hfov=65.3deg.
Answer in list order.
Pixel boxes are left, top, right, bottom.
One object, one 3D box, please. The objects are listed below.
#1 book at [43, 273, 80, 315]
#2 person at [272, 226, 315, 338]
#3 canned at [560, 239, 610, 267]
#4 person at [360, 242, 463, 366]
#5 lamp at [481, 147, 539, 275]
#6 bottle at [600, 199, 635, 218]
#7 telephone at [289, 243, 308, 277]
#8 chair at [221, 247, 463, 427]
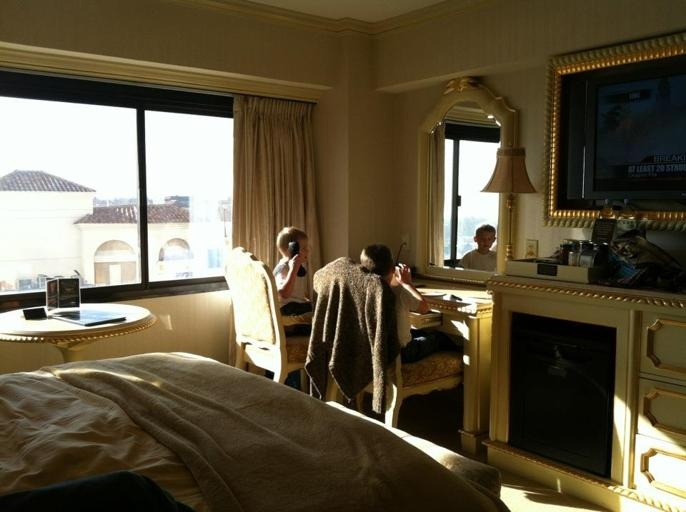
[{"bbox_3d":[-1.727,0.255,3.352,0.214,0.235,0.186,2,2,41],"label":"book"},{"bbox_3d":[-0.308,0.190,3.944,0.436,0.742,0.466,-1,-9,-2],"label":"person"},{"bbox_3d":[1.380,-0.011,3.044,0.177,0.141,0.248,0,4,-38],"label":"canned"},{"bbox_3d":[0.423,0.368,3.497,0.419,0.939,0.720,-1,10,42],"label":"person"},{"bbox_3d":[1.097,-0.327,3.557,0.343,0.759,0.383,10,16,33],"label":"lamp"},{"bbox_3d":[1.612,-0.271,3.132,0.199,0.110,0.101,13,18,40],"label":"bottle"},{"bbox_3d":[-0.322,0.031,3.823,0.058,0.228,0.112,-7,8,-40],"label":"telephone"},{"bbox_3d":[0.094,0.369,3.673,1.633,1.207,0.935,-2,3,-25],"label":"chair"}]
